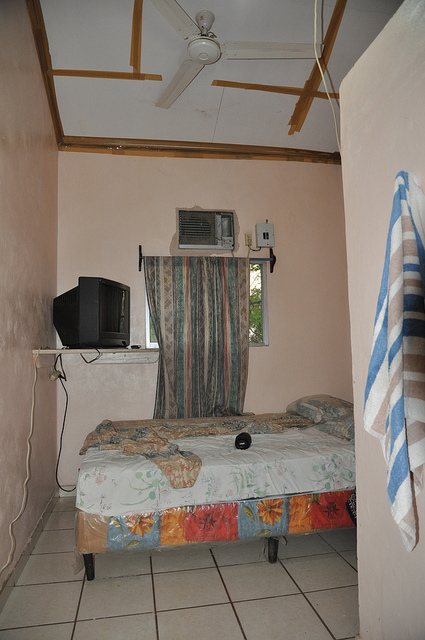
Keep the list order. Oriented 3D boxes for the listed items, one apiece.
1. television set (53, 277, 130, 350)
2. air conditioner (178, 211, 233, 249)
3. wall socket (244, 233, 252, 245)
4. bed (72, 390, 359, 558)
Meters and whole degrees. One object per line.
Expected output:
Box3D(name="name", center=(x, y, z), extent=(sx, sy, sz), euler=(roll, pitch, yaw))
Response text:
Box3D(name="television set", center=(-0.796, -0.019, 3.306), extent=(0.448, 0.463, 0.507), euler=(-2, -4, 11))
Box3D(name="air conditioner", center=(-0.057, -0.722, 4.061), extent=(0.402, 0.307, 0.243), euler=(3, 1, -11))
Box3D(name="wall socket", center=(0.296, -0.659, 4.106), extent=(0.062, 0.096, 0.044), euler=(-1, -1, 0))
Box3D(name="bed", center=(0.047, 0.752, 2.500), extent=(1.253, 0.451, 0.788), euler=(0, 4, -8))
